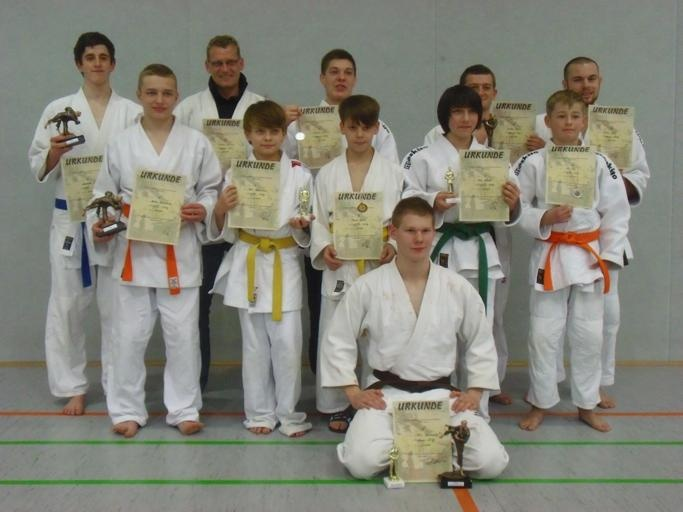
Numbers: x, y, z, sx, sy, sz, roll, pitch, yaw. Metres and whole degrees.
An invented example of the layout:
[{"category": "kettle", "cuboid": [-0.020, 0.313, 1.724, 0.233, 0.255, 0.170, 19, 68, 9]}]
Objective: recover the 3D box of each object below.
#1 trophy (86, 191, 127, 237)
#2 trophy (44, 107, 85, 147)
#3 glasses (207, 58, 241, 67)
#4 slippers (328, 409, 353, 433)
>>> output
[{"category": "trophy", "cuboid": [-1.680, -0.306, 5.329, 0.241, 0.351, 0.255, 16, 21, 42]}, {"category": "trophy", "cuboid": [-2.133, -0.996, 5.727, 0.380, 0.306, 0.261, 2, 11, 8]}, {"category": "glasses", "cuboid": [-0.948, -1.567, 6.000, 0.223, 0.063, 0.096, -3, 12, -18]}, {"category": "slippers", "cuboid": [-0.012, 1.213, 5.422, 0.176, 0.168, 0.502, 0, -4, 2]}]
